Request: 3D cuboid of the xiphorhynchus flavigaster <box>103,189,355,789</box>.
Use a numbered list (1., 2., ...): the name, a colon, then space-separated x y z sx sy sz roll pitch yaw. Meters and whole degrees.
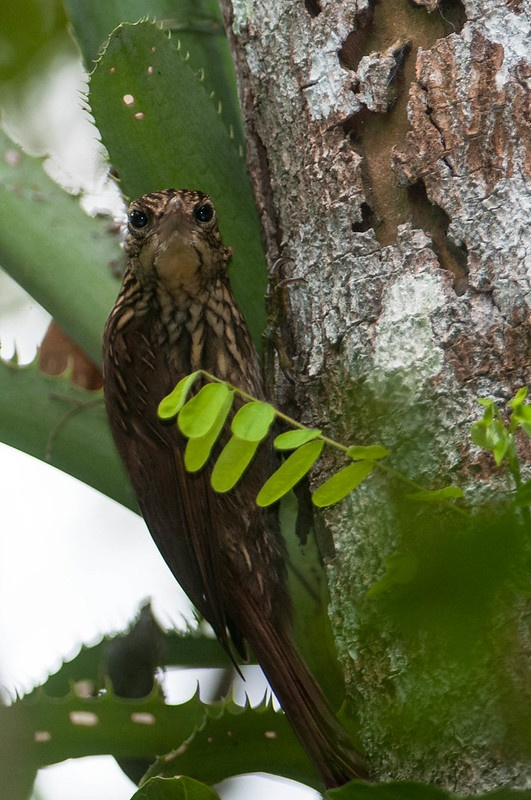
1. xiphorhynchus flavigaster: 0.024 0.116 1.962 0.352 1.050 0.448 -15 -4 -8
